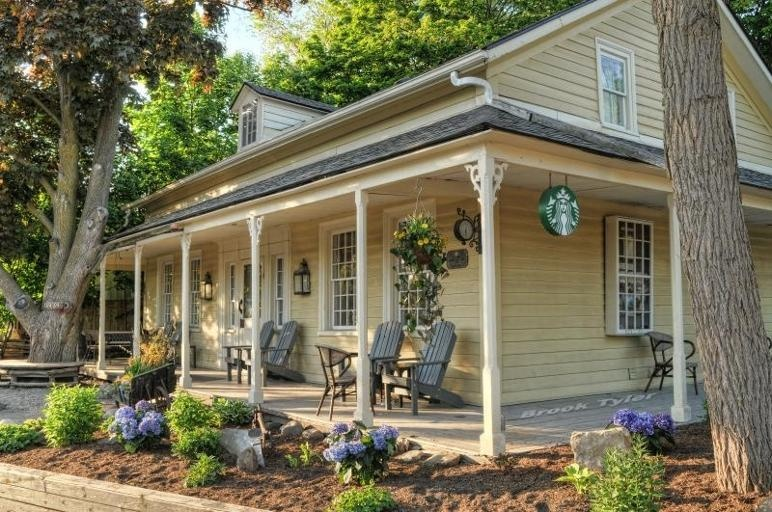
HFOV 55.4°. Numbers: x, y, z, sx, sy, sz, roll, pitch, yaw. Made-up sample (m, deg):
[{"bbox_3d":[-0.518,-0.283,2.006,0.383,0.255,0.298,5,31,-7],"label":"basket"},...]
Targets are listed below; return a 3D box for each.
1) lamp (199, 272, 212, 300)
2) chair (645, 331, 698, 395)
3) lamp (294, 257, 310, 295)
[{"bbox_3d":[-4.309,0.734,17.646,0.215,0.690,0.554,12,-17,-31],"label":"lamp"},{"bbox_3d":[5.155,1.936,13.341,0.880,1.171,1.746,-3,-16,22],"label":"chair"},{"bbox_3d":[-1.692,0.447,14.773,0.246,0.698,0.577,11,-16,-28],"label":"lamp"}]
